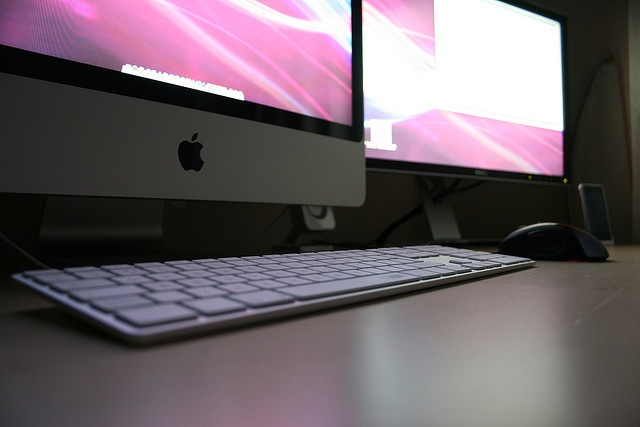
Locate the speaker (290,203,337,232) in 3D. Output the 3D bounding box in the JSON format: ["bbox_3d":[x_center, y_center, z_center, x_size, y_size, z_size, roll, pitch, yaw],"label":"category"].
[{"bbox_3d":[-0.016,0.007,0.849,0.017,0.047,0.051,-13,-12,40],"label":"speaker"}]

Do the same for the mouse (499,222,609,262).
[{"bbox_3d":[0.422,0.045,0.751,0.130,0.043,0.078,-5,-6,40],"label":"mouse"}]
